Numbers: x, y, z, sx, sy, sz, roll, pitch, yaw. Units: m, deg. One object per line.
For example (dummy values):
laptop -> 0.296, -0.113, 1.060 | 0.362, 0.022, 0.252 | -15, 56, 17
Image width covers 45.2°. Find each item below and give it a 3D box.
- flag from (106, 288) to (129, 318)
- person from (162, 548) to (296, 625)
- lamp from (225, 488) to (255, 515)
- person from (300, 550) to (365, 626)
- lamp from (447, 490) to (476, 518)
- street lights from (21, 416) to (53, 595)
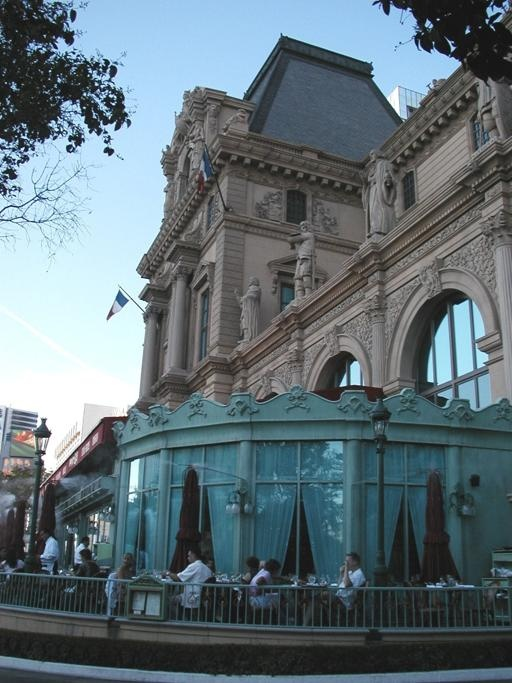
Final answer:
flag -> -9.351, -2.636, 41.923 | 1.035, 2.698, 3.148 | 5, -18, -15
person -> -0.338, 3.790, 9.696 | 1.694, 0.687, 1.171 | 18, -41, -24
lamp -> -0.380, 3.718, 14.237 | 0.623, 0.488, 0.597 | 2, -12, -1
person -> 1.230, 3.794, 9.344 | 0.795, 1.218, 0.591 | 13, -26, 1
lamp -> 4.579, 3.612, 13.647 | 0.604, 0.578, 0.293 | -1, -17, 2
street lights -> -5.704, 4.160, 15.974 | 0.698, 4.117, 0.699 | -14, -22, 38
